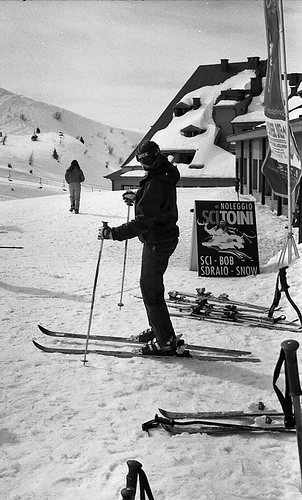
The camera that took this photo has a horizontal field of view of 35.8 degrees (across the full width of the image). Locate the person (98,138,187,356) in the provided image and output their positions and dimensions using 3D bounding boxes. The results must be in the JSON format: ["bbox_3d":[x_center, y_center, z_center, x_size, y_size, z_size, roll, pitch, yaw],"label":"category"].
[{"bbox_3d":[-0.009,0.021,4.144,0.372,1.930,0.779,5,6,42],"label":"person"}]

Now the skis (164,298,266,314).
[{"bbox_3d":[0.820,0.727,6.071,1.197,0.135,0.165,6,15,16],"label":"skis"}]
